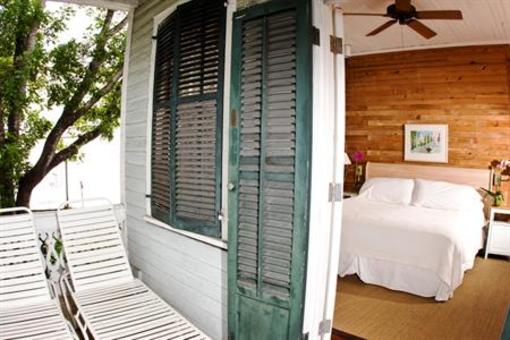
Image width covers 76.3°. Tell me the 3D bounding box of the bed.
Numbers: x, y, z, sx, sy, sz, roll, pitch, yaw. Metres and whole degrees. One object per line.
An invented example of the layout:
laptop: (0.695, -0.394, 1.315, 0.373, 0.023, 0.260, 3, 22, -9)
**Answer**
bed: (2.499, 0.697, 5.448, 2.324, 1.307, 2.945, 10, 13, 44)

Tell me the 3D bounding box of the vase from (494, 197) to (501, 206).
vase: (4.026, 0.525, 5.375, 0.148, 0.130, 0.072, -5, 16, -30)

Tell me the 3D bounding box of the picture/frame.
picture/frame: (3.173, -0.495, 5.951, 0.802, 0.751, 0.033, 2, -1, 28)

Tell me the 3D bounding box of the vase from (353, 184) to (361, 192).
vase: (2.037, 0.364, 6.524, 0.139, 0.133, 0.142, 0, 4, -20)
